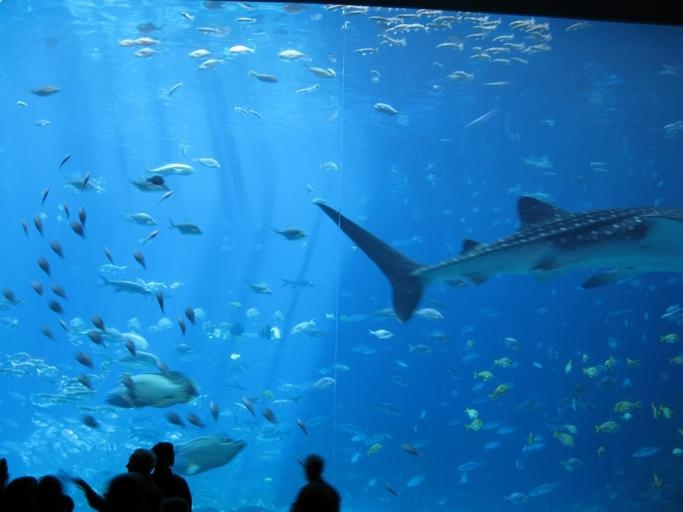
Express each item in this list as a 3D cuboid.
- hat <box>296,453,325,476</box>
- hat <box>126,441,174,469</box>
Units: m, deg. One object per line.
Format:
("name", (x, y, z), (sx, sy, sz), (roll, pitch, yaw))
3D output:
("hat", (-0.605, 4.640, 16.348), (0.658, 0.395, 0.670), (5, -15, -30))
("hat", (-4.017, 4.407, 16.231), (1.042, 0.259, 0.594), (-5, -2, 8))
